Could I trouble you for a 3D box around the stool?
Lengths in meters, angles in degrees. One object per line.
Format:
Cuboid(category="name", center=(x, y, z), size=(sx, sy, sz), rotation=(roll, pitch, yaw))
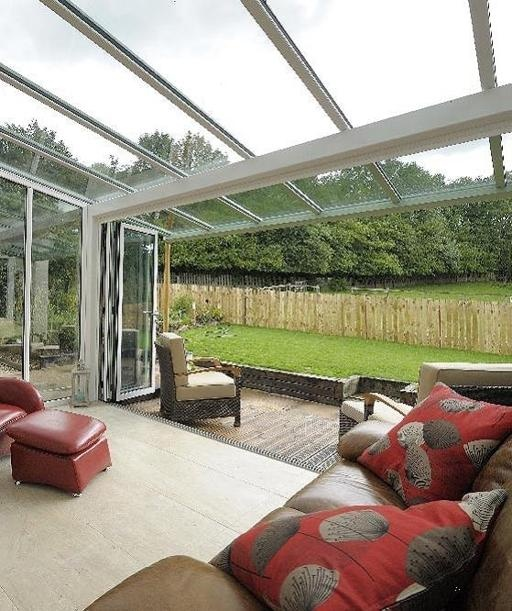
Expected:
Cuboid(category="stool", center=(-1.291, 0.930, 3.075), size=(0.671, 0.418, 0.471), rotation=(1, 3, 25))
